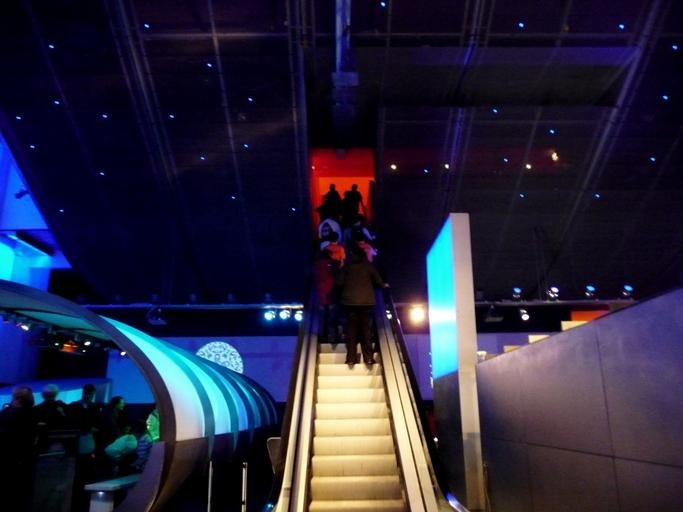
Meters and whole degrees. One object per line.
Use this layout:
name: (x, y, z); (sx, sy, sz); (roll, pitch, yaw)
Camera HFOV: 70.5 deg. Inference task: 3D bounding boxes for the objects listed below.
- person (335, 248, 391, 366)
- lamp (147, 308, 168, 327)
person: (0.258, 0.688, 7.685); (0.582, 2.136, 0.704); (-17, -26, 33)
lamp: (-4.443, 1.551, 11.478); (0.448, 0.201, 0.659); (9, 15, -16)
